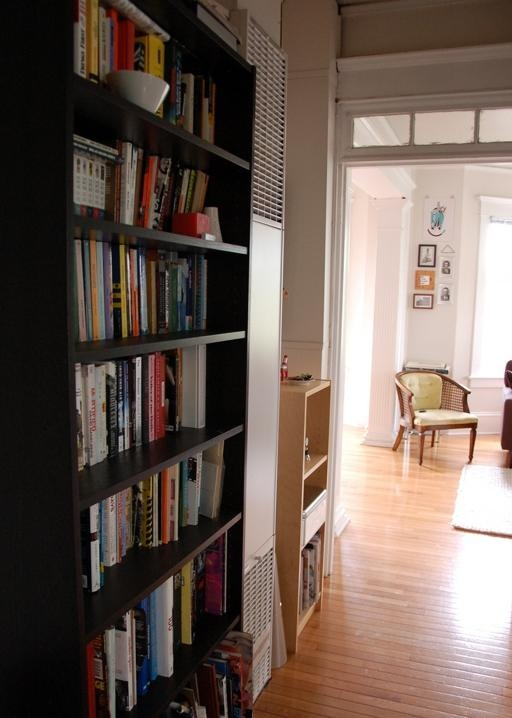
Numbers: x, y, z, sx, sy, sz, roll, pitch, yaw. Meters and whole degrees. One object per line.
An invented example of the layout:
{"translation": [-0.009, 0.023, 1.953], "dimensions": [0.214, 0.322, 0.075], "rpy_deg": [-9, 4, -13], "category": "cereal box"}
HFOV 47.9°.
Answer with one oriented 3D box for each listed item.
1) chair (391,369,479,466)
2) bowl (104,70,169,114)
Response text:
{"translation": [1.823, 0.499, 5.808], "dimensions": [0.629, 1.217, 0.849], "rpy_deg": [-1, 1, -18], "category": "chair"}
{"translation": [-0.232, -0.542, 1.174], "dimensions": [0.092, 0.063, 0.114], "rpy_deg": [3, 4, 6], "category": "bowl"}
